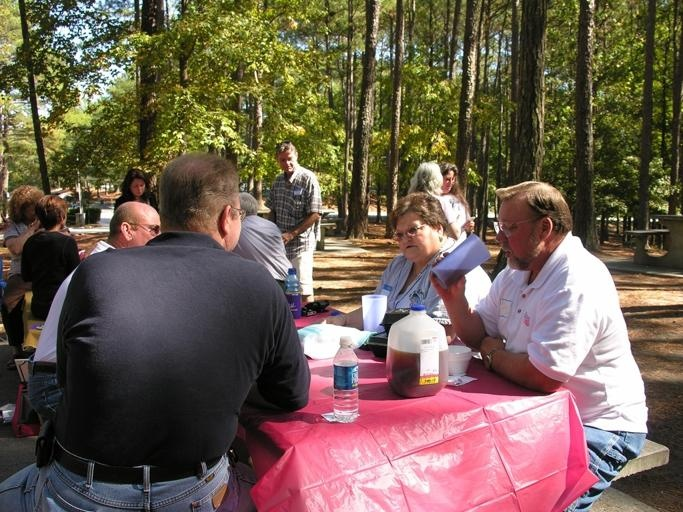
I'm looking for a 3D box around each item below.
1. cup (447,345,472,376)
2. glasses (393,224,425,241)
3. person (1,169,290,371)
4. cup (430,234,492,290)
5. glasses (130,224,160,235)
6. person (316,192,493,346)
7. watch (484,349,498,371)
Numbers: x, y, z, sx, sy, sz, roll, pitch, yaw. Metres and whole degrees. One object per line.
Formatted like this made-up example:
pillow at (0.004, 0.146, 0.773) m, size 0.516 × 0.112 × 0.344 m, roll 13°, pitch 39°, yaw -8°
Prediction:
cup at (0.626, 0.549, 3.578) m, size 0.134 × 0.109 × 0.139 m, roll -2°, pitch 6°, yaw 0°
glasses at (0.431, -0.166, 4.481) m, size 0.125 × 0.131 × 0.278 m, roll -5°, pitch 10°, yaw -33°
person at (-1.384, 0.098, 4.304) m, size 1.309 × 0.576 × 1.333 m, roll -2°, pitch -3°, yaw 37°
cup at (0.688, 0.036, 3.922) m, size 0.213 × 0.375 × 0.225 m, roll 49°, pitch 4°, yaw -5°
glasses at (-1.300, -0.192, 4.510) m, size 0.118 × 0.040 × 0.117 m, roll 4°, pitch 0°, yaw 34°
person at (0.478, 0.085, 4.521) m, size 1.082 × 0.862 × 0.850 m, roll 5°, pitch -4°, yaw -34°
watch at (0.800, 0.553, 3.605) m, size 0.089 × 0.103 × 0.060 m, roll -3°, pitch 30°, yaw -46°
